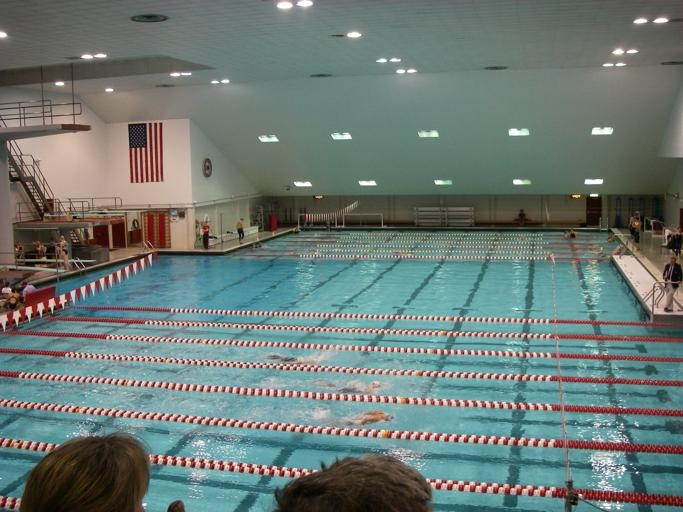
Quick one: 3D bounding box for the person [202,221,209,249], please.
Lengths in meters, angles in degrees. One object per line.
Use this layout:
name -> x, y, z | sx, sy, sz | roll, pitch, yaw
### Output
person -> -6.804, -0.998, 24.037 | 0.392, 1.263, 0.946 | -9, 12, -15

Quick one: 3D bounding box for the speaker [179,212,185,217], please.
speaker -> -8.087, -2.135, 24.312 | 0.315, 0.232, 0.148 | 0, 14, 8

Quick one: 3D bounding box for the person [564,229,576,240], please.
person -> 12.264, -1.131, 25.772 | 0.781, 0.351, 0.876 | 0, 11, 6
